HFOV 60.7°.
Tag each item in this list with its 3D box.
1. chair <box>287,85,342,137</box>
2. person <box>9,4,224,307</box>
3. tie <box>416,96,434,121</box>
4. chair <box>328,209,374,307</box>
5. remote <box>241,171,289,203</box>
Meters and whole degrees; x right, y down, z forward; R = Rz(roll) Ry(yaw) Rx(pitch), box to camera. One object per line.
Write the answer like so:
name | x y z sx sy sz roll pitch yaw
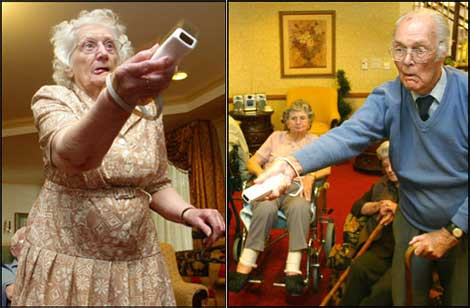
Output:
chair | 0.480 -0.280 2.601 0.327 0.361 0.323 0 7 5
person | -0.540 0.020 1.782 0.857 1.379 0.532 1 6 21
tie | 1.052 -0.255 2.213 0.085 0.122 0.030 4 -1 16
chair | 0.725 0.651 2.465 0.122 0.573 0.207 26 2 20
remote | 0.154 0.159 2.019 0.334 0.082 0.077 -24 -18 -29
